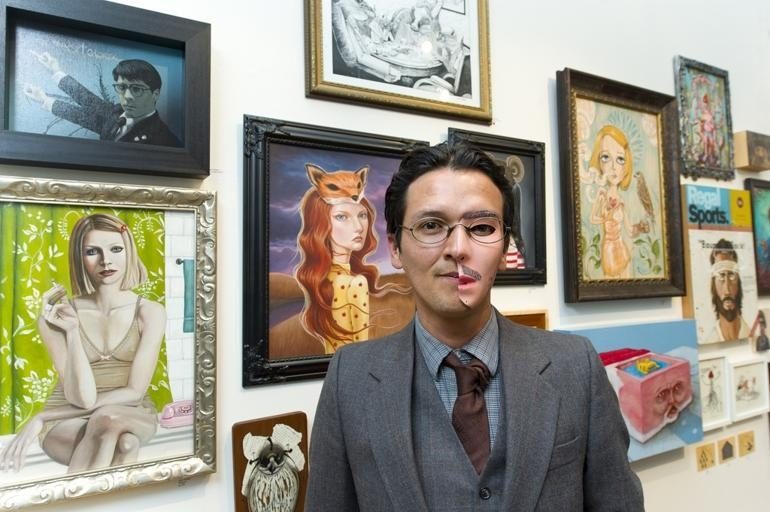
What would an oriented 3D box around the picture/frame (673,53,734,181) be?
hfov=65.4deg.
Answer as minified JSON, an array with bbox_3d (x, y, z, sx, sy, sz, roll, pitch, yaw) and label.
[{"bbox_3d":[1.763,-0.758,3.349,0.695,0.837,0.057,6,-11,-35],"label":"picture/frame"}]

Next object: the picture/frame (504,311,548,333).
[{"bbox_3d":[0.593,0.278,2.555,0.129,0.091,0.014,-1,7,-7],"label":"picture/frame"}]
